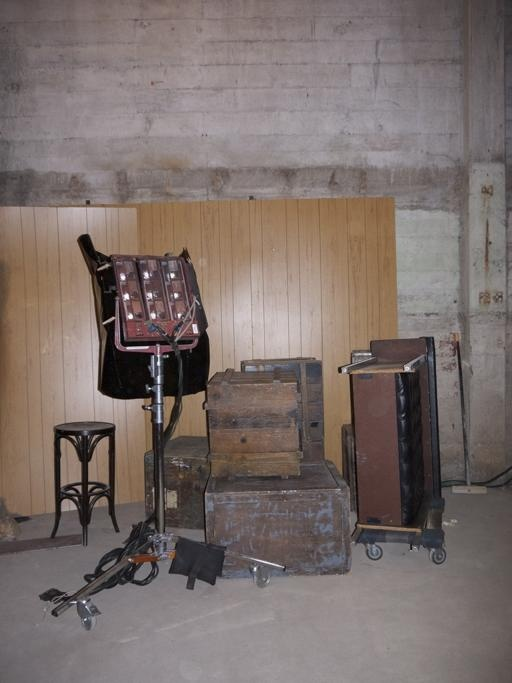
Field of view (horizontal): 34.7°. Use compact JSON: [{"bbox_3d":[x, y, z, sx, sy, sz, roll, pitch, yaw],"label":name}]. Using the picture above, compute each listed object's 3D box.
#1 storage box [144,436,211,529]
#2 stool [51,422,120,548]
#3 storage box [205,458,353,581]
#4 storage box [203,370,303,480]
[{"bbox_3d":[-0.547,0.982,5.392,0.360,0.460,0.704,2,-8,0],"label":"storage box"},{"bbox_3d":[-1.044,0.852,5.011,0.378,0.692,0.414,0,1,7],"label":"stool"},{"bbox_3d":[0.157,0.961,4.527,0.611,0.542,0.381,-1,-3,3],"label":"storage box"},{"bbox_3d":[-0.038,0.476,4.605,0.461,0.563,0.516,-1,-9,-13],"label":"storage box"}]
